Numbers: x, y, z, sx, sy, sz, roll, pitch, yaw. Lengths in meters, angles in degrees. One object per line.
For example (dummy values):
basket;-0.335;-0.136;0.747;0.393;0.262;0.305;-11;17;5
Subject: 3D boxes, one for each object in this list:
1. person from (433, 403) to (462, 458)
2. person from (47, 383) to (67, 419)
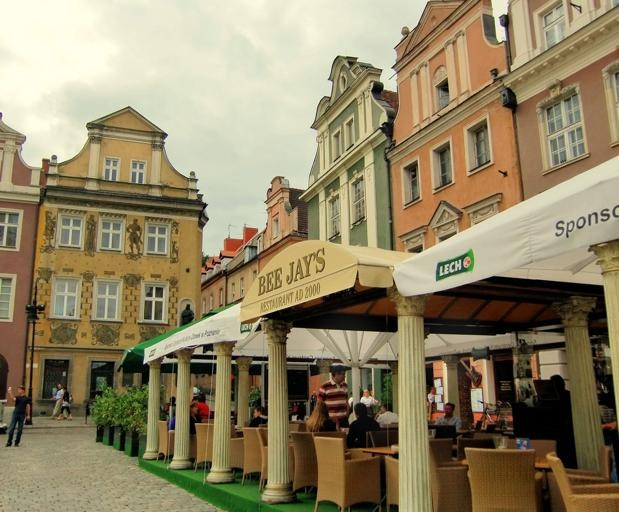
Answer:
person;2.985;3.816;13.079;0.509;1.214;0.352;1;8;8
person;-12.719;7.323;30.565;0.703;1.585;1.877;-4;-8;-22
